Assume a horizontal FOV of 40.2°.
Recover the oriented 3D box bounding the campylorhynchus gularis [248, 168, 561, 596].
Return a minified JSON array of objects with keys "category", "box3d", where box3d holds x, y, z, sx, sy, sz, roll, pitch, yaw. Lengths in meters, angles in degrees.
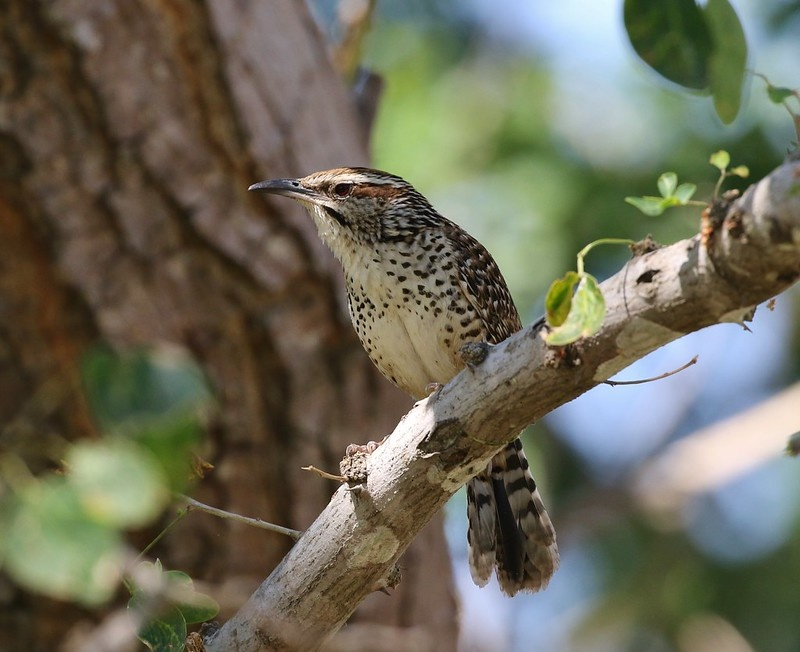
[{"category":"campylorhynchus gularis","box3d":[0.218,0.086,5.308,0.502,1.858,1.653,2,12,44]}]
